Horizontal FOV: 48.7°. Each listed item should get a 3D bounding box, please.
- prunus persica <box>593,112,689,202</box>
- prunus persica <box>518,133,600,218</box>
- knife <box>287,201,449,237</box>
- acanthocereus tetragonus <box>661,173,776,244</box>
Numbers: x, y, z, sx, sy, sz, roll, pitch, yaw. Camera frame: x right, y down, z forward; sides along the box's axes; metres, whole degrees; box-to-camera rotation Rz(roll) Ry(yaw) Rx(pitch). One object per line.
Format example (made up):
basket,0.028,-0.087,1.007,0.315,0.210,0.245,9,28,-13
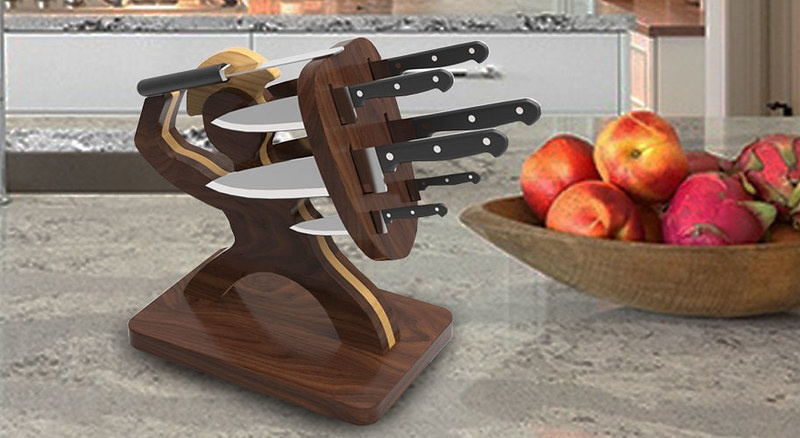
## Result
prunus persica,0.412,-0.102,1.627,0.169,0.151,0.161,8,23,-17
prunus persica,0.292,-0.073,1.588,0.103,0.125,0.110,-43,-23,-1
knife,-0.057,0.004,1.530,0.286,0.075,0.095,-3,17,4
acanthocereus tetragonus,0.553,-0.016,1.535,0.187,0.120,0.062,-1,19,11
